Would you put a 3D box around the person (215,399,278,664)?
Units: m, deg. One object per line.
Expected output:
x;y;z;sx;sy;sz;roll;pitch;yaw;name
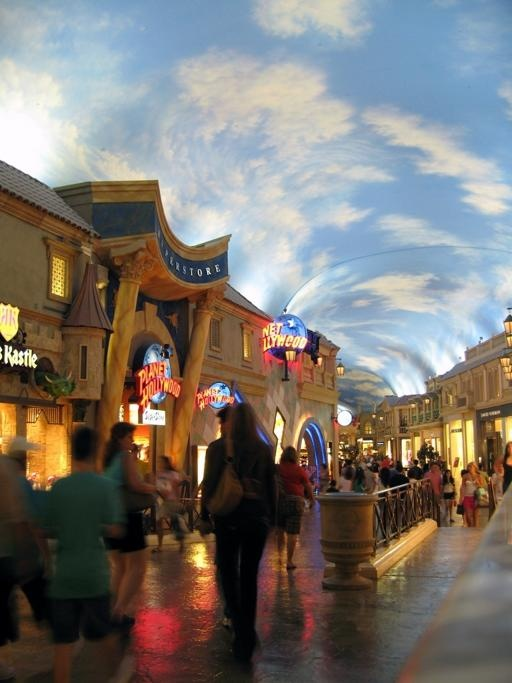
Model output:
-0.103;1.598;5.149;0.535;2.145;0.407;3;-10;-3;person

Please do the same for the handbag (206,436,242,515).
-0.280;1.167;5.088;0.184;0.678;0.283;30;-49;-30;handbag

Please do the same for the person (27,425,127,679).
-1.178;1.401;3.964;0.542;1.653;0.338;4;-10;-11;person

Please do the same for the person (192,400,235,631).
-0.342;1.857;5.205;0.282;2.724;0.374;-1;-1;-5;person
